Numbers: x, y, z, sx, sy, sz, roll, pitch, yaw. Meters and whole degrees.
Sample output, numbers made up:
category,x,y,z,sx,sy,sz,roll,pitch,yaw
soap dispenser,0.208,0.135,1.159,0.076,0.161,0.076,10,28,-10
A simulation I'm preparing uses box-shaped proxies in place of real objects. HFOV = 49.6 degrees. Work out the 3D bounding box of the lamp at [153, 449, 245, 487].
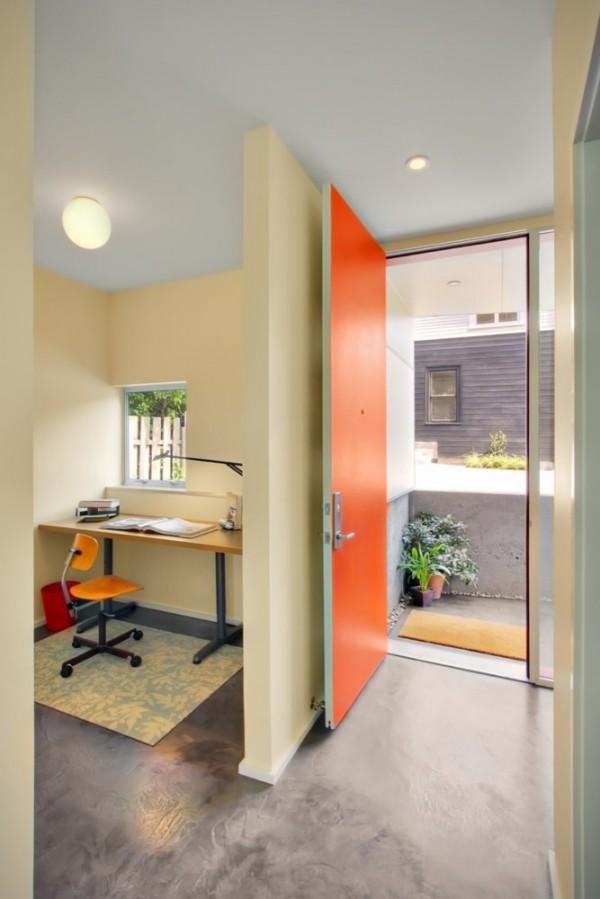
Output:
category,x,y,z,sx,sy,sz,roll,pitch,yaw
lamp,-0.620,0.119,4.110,0.527,0.106,0.212,2,33,22

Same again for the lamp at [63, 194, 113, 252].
category,x,y,z,sx,sy,sz,roll,pitch,yaw
lamp,-0.852,-0.910,2.597,0.044,0.218,0.196,16,15,38

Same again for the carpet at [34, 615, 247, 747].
category,x,y,z,sx,sy,sz,roll,pitch,yaw
carpet,-0.869,1.110,3.274,1.144,0.043,1.020,3,6,26

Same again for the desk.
category,x,y,z,sx,sy,sz,roll,pitch,yaw
desk,-0.797,0.791,3.810,1.237,0.697,0.600,6,6,13

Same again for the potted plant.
category,x,y,z,sx,sy,sz,roll,pitch,yaw
potted plant,0.966,0.743,4.874,0.503,0.634,0.566,-5,8,-35

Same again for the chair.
category,x,y,z,sx,sy,sz,roll,pitch,yaw
chair,-1.055,0.801,3.501,0.508,0.739,0.495,5,6,40
